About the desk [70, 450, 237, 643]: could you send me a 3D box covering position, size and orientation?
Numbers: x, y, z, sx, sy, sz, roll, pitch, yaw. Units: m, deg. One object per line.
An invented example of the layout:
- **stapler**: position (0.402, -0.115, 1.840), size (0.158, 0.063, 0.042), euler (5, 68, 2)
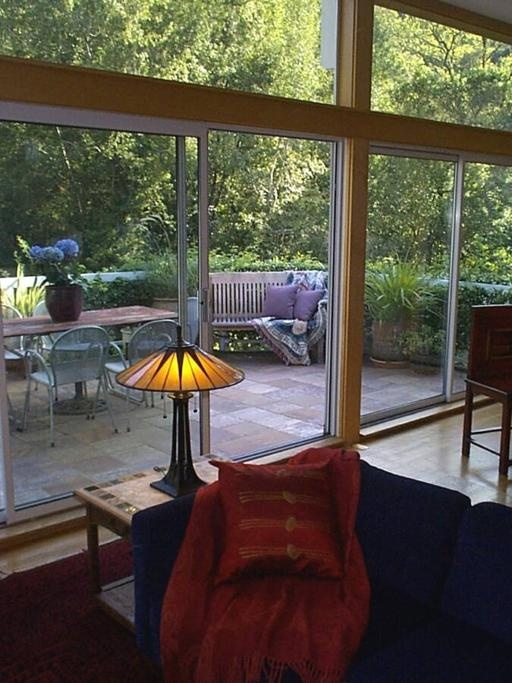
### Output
- **desk**: position (-0.306, 0.725, 2.017), size (0.455, 0.423, 0.534), euler (2, 7, 28)

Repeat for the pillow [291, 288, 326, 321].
- **pillow**: position (0.610, -0.425, 6.611), size (0.112, 0.346, 0.378), euler (21, -3, -43)

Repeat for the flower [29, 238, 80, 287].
- **flower**: position (-0.974, -0.354, 2.647), size (0.289, 0.256, 0.220), euler (0, -10, -17)

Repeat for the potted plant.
- **potted plant**: position (1.174, -0.216, 4.607), size (0.789, 0.944, 0.869), euler (-2, 7, -4)

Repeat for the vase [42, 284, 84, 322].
- **vase**: position (-0.929, -0.184, 2.711), size (0.181, 0.183, 0.175), euler (9, 19, 25)

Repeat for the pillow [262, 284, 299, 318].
- **pillow**: position (0.302, -0.468, 6.722), size (0.399, 0.378, 0.139), euler (9, -19, 22)

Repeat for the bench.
- **bench**: position (0.153, -0.264, 6.474), size (1.185, 0.821, 0.446), euler (2, 8, 7)
